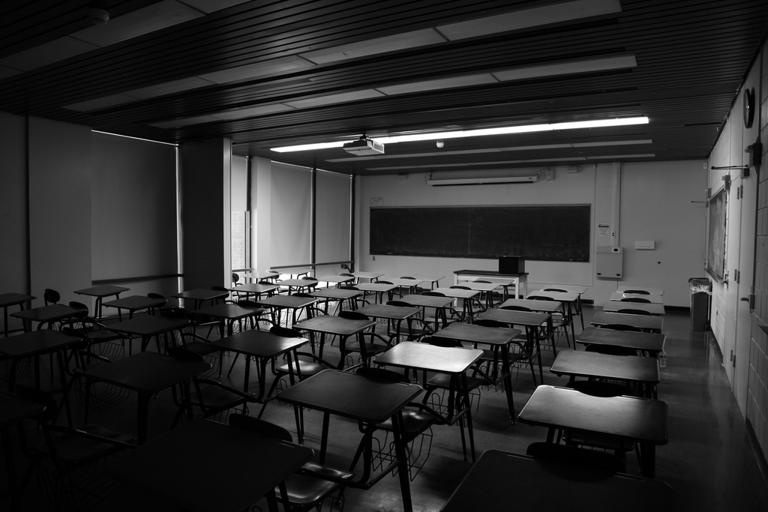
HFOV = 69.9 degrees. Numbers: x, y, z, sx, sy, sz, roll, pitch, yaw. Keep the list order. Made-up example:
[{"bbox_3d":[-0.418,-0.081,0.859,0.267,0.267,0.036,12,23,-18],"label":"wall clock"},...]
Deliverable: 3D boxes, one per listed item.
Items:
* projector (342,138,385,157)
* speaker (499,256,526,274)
[{"bbox_3d":[-0.318,-1.911,9.272,0.587,0.331,0.824,2,3,6],"label":"projector"},{"bbox_3d":[2.777,0.201,11.792,0.598,0.364,0.515,1,3,-6],"label":"speaker"}]
